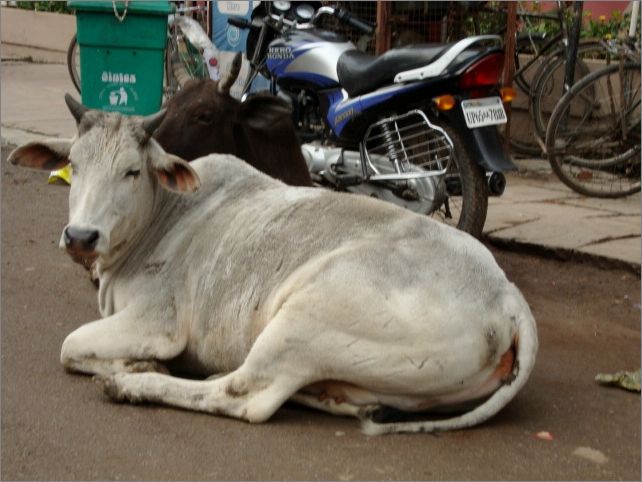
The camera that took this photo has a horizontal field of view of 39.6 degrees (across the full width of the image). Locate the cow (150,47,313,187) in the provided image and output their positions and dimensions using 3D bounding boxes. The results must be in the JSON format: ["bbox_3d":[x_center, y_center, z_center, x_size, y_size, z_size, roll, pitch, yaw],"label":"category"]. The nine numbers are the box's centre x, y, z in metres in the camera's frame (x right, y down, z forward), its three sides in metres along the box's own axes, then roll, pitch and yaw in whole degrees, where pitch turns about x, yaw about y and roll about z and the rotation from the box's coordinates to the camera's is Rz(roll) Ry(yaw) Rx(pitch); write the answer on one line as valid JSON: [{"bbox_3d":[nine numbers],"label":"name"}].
[{"bbox_3d":[-0.622,-0.683,6.307,0.971,0.729,0.784,24,48,34],"label":"cow"}]

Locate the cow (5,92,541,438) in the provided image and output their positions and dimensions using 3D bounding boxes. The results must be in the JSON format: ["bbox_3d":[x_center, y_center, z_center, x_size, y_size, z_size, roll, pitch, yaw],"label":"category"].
[{"bbox_3d":[-0.430,-0.101,5.169,3.110,1.983,1.513,11,14,37],"label":"cow"}]
